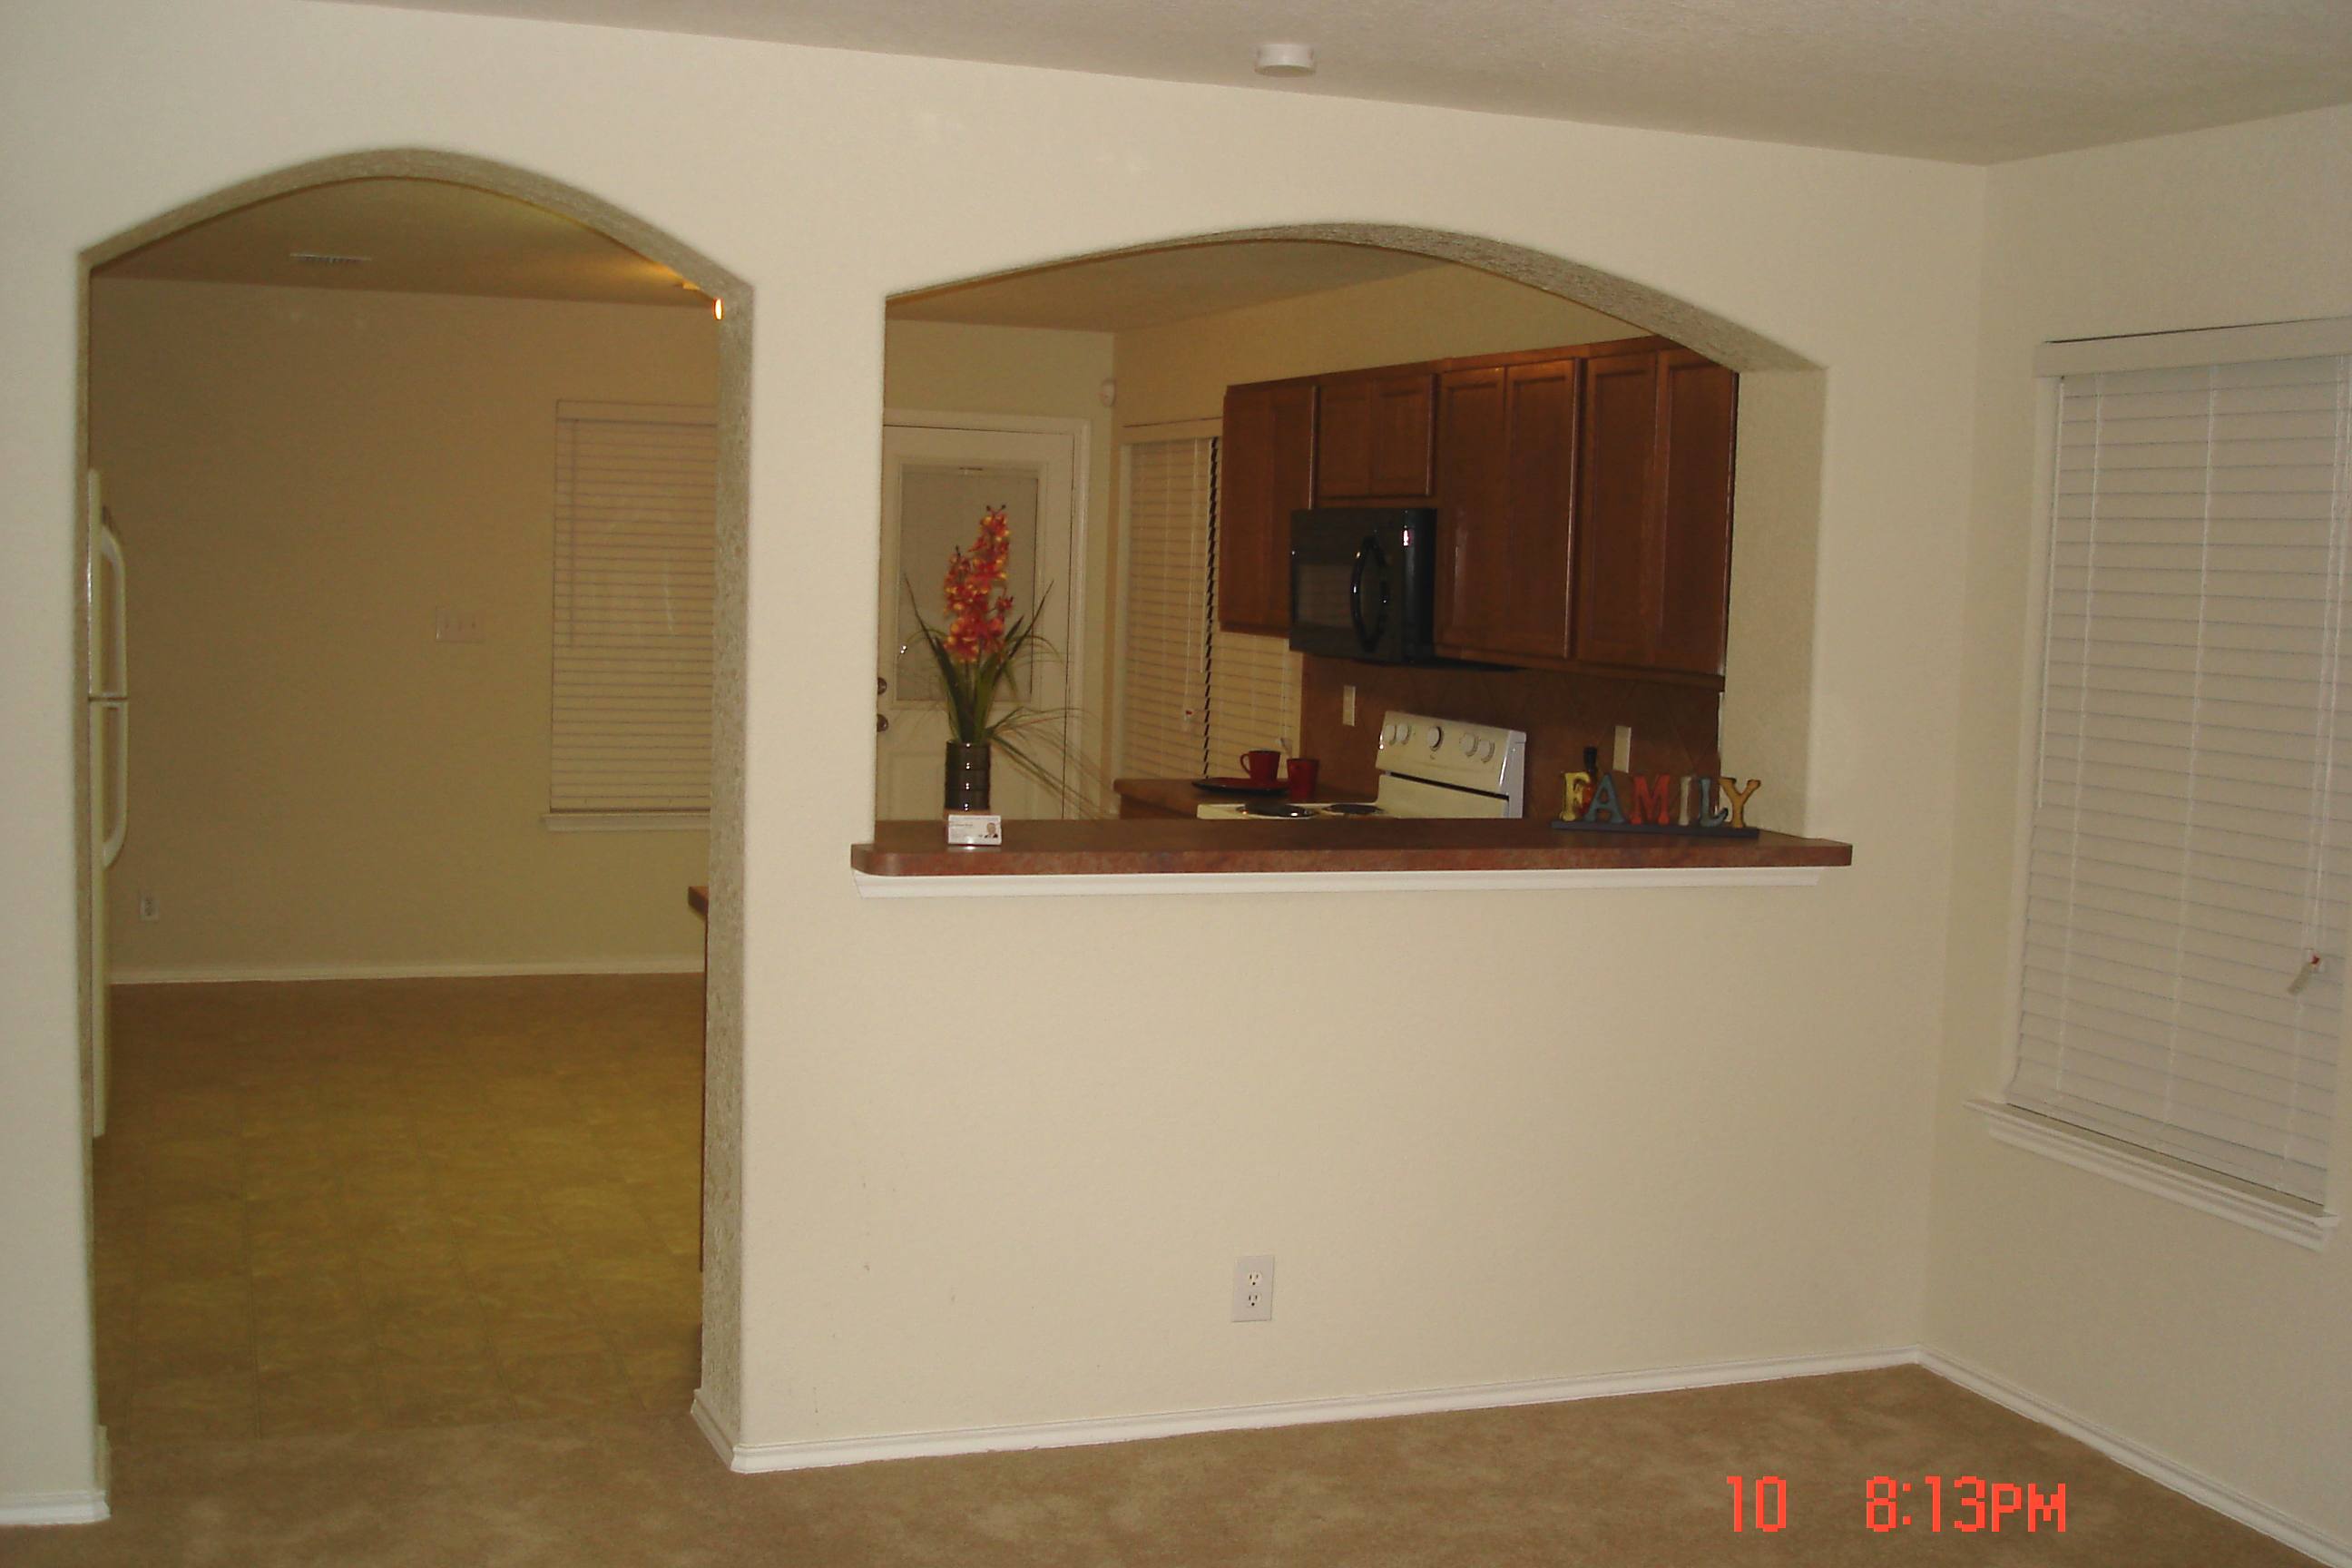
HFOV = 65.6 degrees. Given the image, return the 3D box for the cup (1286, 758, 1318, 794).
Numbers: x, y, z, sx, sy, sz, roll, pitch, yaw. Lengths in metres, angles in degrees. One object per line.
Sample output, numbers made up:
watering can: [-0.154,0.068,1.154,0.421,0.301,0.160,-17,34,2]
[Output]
cup: [0.474,-0.024,6.888,0.121,0.133,0.123,0,-4,0]

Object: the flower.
flower: [-0.525,-0.292,4.553,0.403,0.717,0.332,3,0,38]

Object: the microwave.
microwave: [0.737,-0.672,6.377,0.437,0.544,0.791,-4,10,-28]

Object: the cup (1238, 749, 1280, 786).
cup: [0.321,-0.066,6.993,0.113,0.102,0.138,-1,1,-40]
